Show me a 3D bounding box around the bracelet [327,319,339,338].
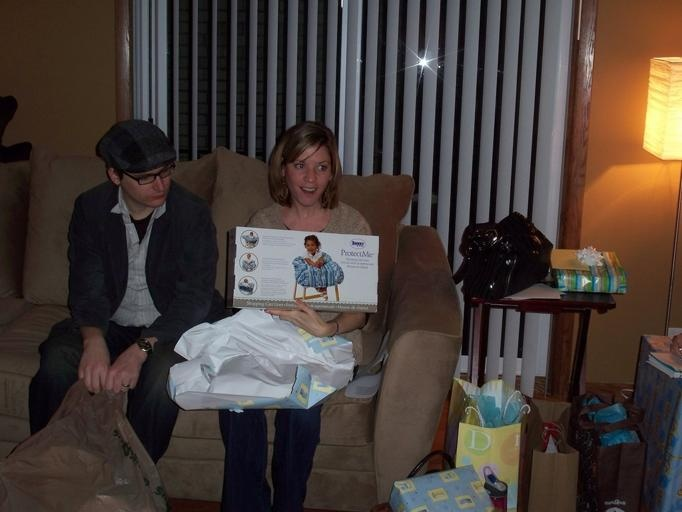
[{"bbox_3d":[-0.025,0.268,2.135,0.032,0.050,0.022,2,-8,-29],"label":"bracelet"}]

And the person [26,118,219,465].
[{"bbox_3d":[-0.797,0.100,2.161,0.668,1.206,0.502,0,8,-4],"label":"person"}]

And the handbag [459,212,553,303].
[{"bbox_3d":[0.710,0.005,2.498,0.411,0.370,0.215,1,8,9],"label":"handbag"}]

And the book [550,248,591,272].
[{"bbox_3d":[1.023,0.016,2.613,0.162,0.072,0.223,1,8,4],"label":"book"}]

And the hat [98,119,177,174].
[{"bbox_3d":[-0.751,-0.401,2.100,0.265,0.197,0.144,-3,8,-22],"label":"hat"}]

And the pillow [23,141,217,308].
[{"bbox_3d":[-1.229,-0.159,2.859,0.704,0.769,0.271,-2,10,-2],"label":"pillow"}]

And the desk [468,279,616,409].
[{"bbox_3d":[0.876,0.234,2.727,0.661,0.744,0.642,3,8,13],"label":"desk"}]

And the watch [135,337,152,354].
[{"bbox_3d":[-0.719,0.329,2.082,0.055,0.052,0.038,2,8,13],"label":"watch"}]
